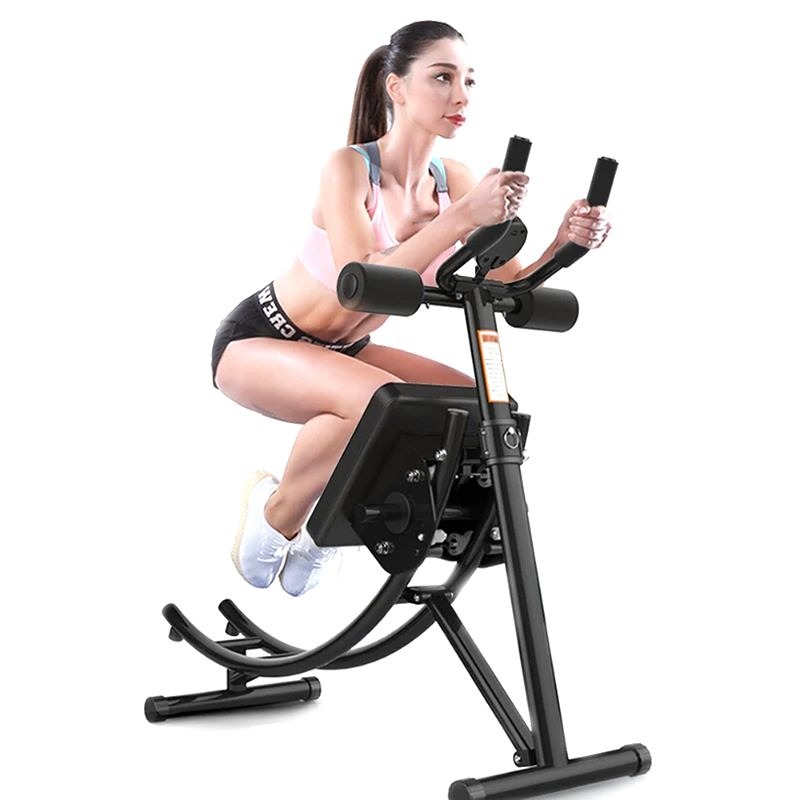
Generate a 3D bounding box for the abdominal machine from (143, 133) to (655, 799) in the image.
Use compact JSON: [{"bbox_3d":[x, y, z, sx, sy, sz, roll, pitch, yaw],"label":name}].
[{"bbox_3d":[0.049,0.182,1.960,0.698,1.244,1.259,14,-35,-23],"label":"abdominal machine"}]
